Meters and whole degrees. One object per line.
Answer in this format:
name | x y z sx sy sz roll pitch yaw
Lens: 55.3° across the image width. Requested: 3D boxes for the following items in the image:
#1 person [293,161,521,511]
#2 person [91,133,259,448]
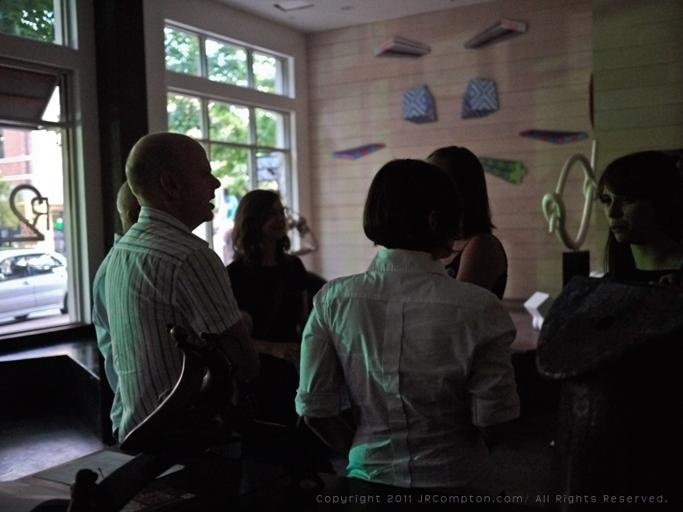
person | 0.125 0.155 1.432 0.483 0.726 0.293 -4 6 2
person | -0.437 0.087 1.743 0.383 0.849 0.429 -7 7 -25
